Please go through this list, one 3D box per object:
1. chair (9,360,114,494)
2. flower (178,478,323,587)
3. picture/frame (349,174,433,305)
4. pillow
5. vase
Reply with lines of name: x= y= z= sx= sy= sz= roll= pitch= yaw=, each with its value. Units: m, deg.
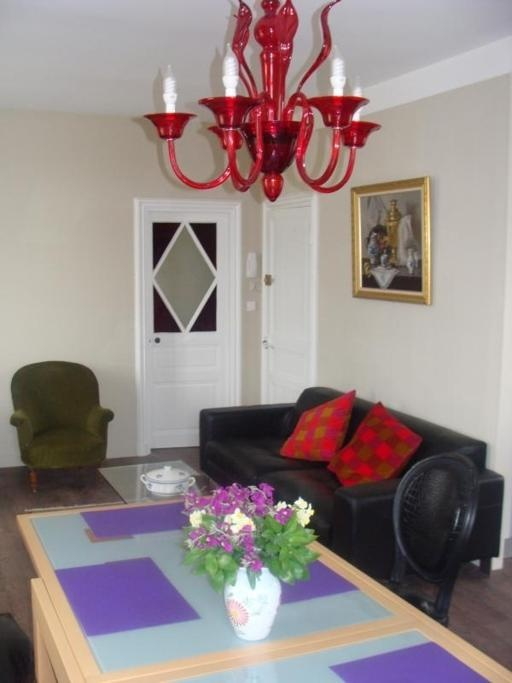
chair: x=-1.546 y=0.648 z=4.540 sx=0.733 sy=0.959 sz=0.587 roll=1 pitch=1 yaw=-23
flower: x=-0.039 y=0.446 z=1.375 sx=0.272 sy=0.170 sz=0.343 roll=1 pitch=1 yaw=-23
picture/frame: x=0.882 y=-0.670 z=3.669 sx=0.036 sy=0.865 sz=0.876 roll=-6 pitch=10 yaw=-27
pillow: x=0.608 y=0.556 z=3.437 sx=0.391 sy=0.448 sz=0.999 roll=-2 pitch=4 yaw=-23
vase: x=-0.008 y=0.608 z=1.333 sx=0.120 sy=0.141 sz=0.121 roll=7 pitch=-20 yaw=-41
